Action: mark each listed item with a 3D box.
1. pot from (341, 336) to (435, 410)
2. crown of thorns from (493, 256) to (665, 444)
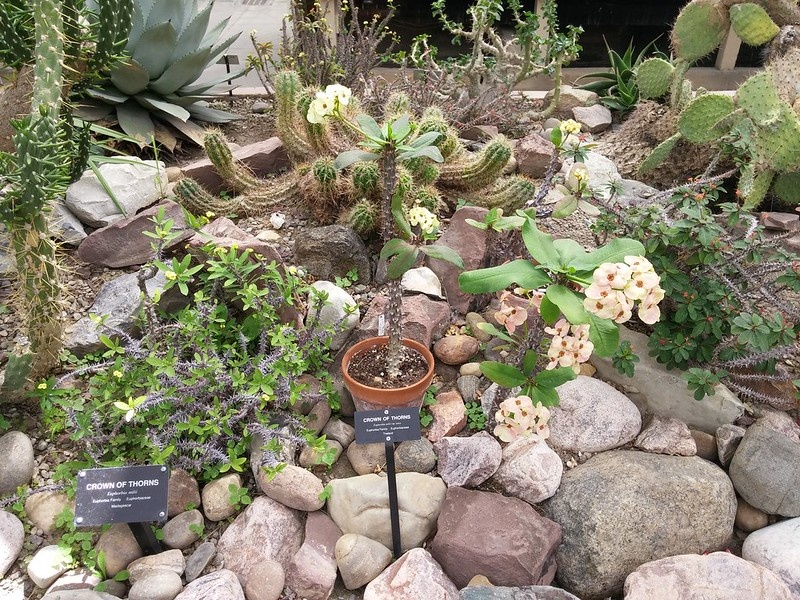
[{"bbox_3d":[-0.075,0.430,2.898,0.396,0.295,0.401,-1,36,1],"label":"pot"},{"bbox_3d":[0.730,0.120,2.549,0.567,0.884,0.324,34,28,7],"label":"crown of thorns"}]
